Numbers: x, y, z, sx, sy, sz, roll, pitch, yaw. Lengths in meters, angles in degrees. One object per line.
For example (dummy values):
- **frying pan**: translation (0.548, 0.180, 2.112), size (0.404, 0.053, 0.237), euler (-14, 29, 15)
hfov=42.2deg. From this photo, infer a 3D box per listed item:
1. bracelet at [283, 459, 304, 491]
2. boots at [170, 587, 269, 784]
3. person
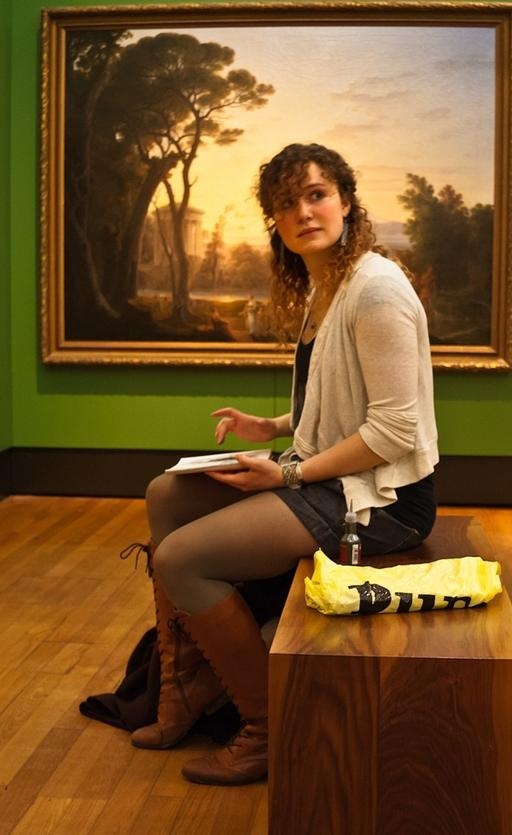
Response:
- **bracelet**: translation (0.076, 0.138, 1.556), size (0.044, 0.061, 0.025), euler (0, 4, 6)
- **boots**: translation (-0.076, 0.650, 1.568), size (0.302, 0.422, 0.149), euler (-11, 10, -8)
- **person**: translation (0.081, 0.091, 1.750), size (0.749, 1.537, 0.641), euler (3, -1, -8)
